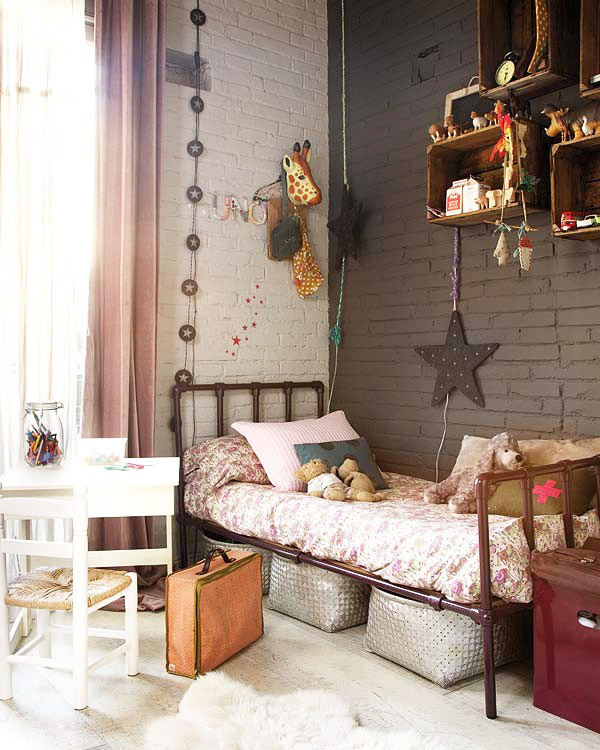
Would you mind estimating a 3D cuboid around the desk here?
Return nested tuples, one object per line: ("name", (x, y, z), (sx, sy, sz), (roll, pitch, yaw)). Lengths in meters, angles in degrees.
("desk", (-0.629, 0.408, 2.008), (0.584, 0.480, 0.430), (-1, -2, 19))

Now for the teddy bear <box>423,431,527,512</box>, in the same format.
("teddy bear", (0.620, 0.353, 2.297), (0.206, 0.217, 0.358), (5, -14, -31))

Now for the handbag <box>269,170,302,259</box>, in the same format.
("handbag", (-0.081, -0.802, 3.387), (0.172, 0.443, 0.137), (-1, 1, -37))

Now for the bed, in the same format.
("bed", (0.239, 0.440, 2.475), (0.845, 0.772, 1.501), (-3, 4, -32))

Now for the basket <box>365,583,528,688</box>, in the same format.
("basket", (0.520, 0.815, 2.206), (0.555, 0.238, 0.523), (6, -12, -35))

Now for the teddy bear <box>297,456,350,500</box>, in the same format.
("teddy bear", (0.085, 0.400, 2.605), (0.122, 0.066, 0.172), (-9, 15, -17))

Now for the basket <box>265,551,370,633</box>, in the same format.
("basket", (0.093, 0.822, 2.607), (0.334, 0.260, 0.425), (2, -1, -33))

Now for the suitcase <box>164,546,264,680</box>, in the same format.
("suitcase", (-0.267, 0.759, 2.085), (0.134, 0.291, 0.366), (-1, 2, 26))
